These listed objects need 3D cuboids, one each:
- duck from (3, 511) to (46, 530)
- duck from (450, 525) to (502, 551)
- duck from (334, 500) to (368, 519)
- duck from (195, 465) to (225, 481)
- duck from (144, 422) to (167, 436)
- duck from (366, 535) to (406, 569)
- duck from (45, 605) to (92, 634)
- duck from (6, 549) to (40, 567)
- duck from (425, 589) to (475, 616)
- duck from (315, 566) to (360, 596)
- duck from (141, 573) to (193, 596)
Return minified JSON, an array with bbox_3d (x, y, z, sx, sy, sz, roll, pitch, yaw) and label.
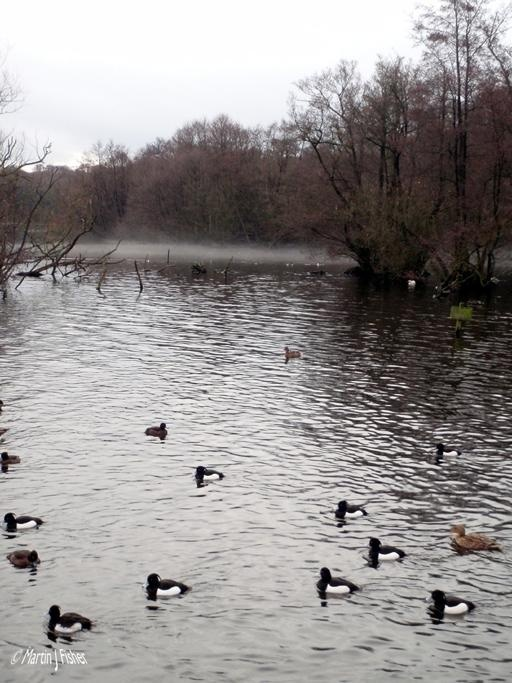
[{"bbox_3d":[-3.784,2.923,14.627,0.657,0.248,0.250,8,-8,-31],"label":"duck"},{"bbox_3d":[3.444,3.120,14.218,0.677,0.338,0.342,9,-3,16],"label":"duck"},{"bbox_3d":[1.606,2.806,15.284,0.620,0.263,0.387,-3,14,-16],"label":"duck"},{"bbox_3d":[-0.851,2.415,16.723,0.538,0.262,0.355,0,13,-5],"label":"duck"},{"bbox_3d":[-2.154,1.874,19.368,0.402,0.252,0.273,-1,6,24],"label":"duck"},{"bbox_3d":[1.994,3.206,13.757,0.591,0.301,0.519,3,13,7],"label":"duck"},{"bbox_3d":[-2.484,3.709,11.982,0.552,0.360,0.309,0,-35,-6],"label":"duck"},{"bbox_3d":[-3.487,3.217,13.539,0.493,0.226,0.445,-2,13,-12],"label":"duck"},{"bbox_3d":[2.696,3.595,12.454,0.505,0.265,0.347,5,-13,-11],"label":"duck"},{"bbox_3d":[1.141,3.452,12.946,0.587,0.364,0.334,7,-10,16],"label":"duck"},{"bbox_3d":[-1.305,3.508,12.951,0.735,0.319,0.246,7,-14,-8],"label":"duck"}]
